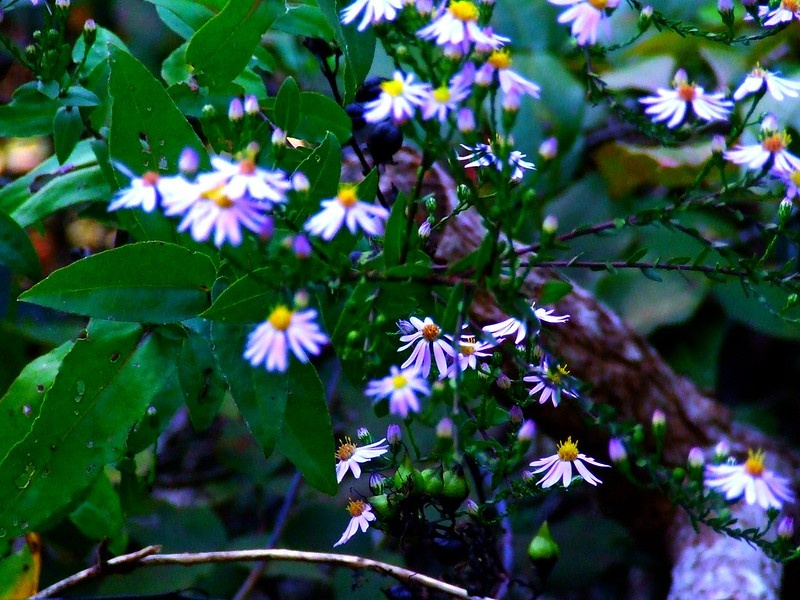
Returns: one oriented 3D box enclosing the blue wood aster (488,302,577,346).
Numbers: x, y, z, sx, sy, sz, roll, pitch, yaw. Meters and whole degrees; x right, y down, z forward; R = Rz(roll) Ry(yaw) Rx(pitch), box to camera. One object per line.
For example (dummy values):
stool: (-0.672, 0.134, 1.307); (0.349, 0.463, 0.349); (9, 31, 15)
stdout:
blue wood aster: (0.209, 0.038, 2.167); (0.085, 0.023, 0.088); (-24, 14, -26)

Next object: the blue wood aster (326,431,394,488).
blue wood aster: (-0.065, 0.275, 2.168); (0.025, 0.073, 0.079); (38, 38, -11)

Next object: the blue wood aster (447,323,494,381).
blue wood aster: (0.110, 0.078, 2.130); (0.056, 0.024, 0.076); (-1, 52, 15)

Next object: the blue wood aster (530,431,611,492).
blue wood aster: (0.269, 0.264, 2.161); (0.090, 0.063, 0.106); (2, 25, 27)

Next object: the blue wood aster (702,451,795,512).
blue wood aster: (0.553, 0.278, 2.050); (0.093, 0.047, 0.117); (8, 36, -14)

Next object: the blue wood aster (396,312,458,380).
blue wood aster: (0.049, 0.067, 2.149); (0.105, 0.049, 0.137); (-9, 2, 1)
